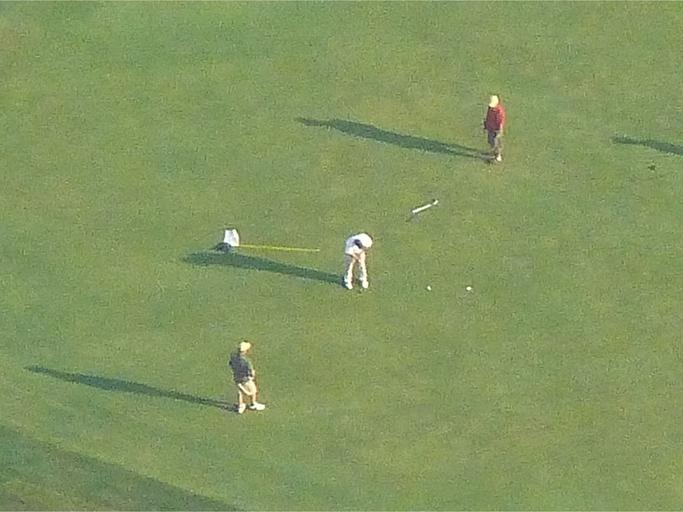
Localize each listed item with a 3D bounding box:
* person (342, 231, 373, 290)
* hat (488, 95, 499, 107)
[{"bbox_3d":[0.317,0.065,33.677,0.740,0.389,1.213,-1,104,-8],"label":"person"},{"bbox_3d":[3.455,-3.530,33.478,0.262,0.091,0.336,2,92,-1],"label":"hat"}]
